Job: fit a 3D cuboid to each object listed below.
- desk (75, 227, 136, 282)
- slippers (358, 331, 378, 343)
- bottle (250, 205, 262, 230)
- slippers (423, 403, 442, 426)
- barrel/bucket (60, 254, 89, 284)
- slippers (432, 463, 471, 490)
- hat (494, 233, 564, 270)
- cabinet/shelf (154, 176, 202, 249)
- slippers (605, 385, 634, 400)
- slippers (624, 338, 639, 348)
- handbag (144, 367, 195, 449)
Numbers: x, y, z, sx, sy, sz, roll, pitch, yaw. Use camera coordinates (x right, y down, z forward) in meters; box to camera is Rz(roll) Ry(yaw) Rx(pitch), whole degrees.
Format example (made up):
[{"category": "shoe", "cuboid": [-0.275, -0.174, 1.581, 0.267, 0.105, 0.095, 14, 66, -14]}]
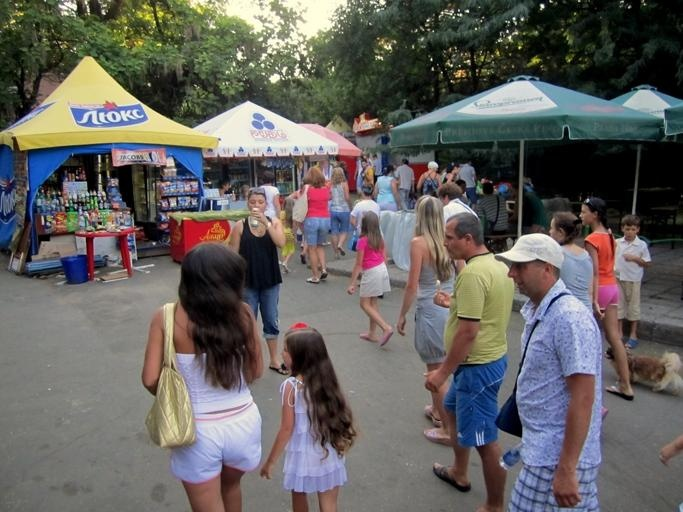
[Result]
[{"category": "desk", "cuboid": [-5.114, -0.049, 11.527, 1.133, 0.917, 1.127, -1, 2, -27]}, {"category": "slippers", "cuboid": [0.400, 1.174, 7.766, 0.277, 0.209, 0.108, 16, 1, 37]}, {"category": "bottle", "cuboid": [-1.027, -0.454, 6.295, 0.135, 0.239, 0.118, -3, 9, -6]}, {"category": "slippers", "cuboid": [0.967, 1.676, 5.651, 0.088, 0.112, 0.249, 1, 7, -7]}, {"category": "barrel/bucket", "cuboid": [-5.518, 0.266, 11.214, 0.490, 0.593, 0.561, 2, 8, -2]}, {"category": "slippers", "cuboid": [0.996, 1.949, 4.752, 0.130, 0.088, 0.305, -2, 23, -38]}, {"category": "hat", "cuboid": [1.297, -0.037, 3.579, 0.315, 0.182, 0.235, 4, -1, 7]}, {"category": "cabinet/shelf", "cuboid": [-4.400, -1.493, 14.847, 1.135, 1.977, 0.665, -4, -8, -18]}, {"category": "slippers", "cuboid": [3.196, 1.526, 6.072, 0.109, 0.061, 0.212, 1, 17, -36]}, {"category": "slippers", "cuboid": [4.003, 1.197, 7.332, 0.097, 0.088, 0.277, -2, 3, 37]}, {"category": "handbag", "cuboid": [-1.089, 1.009, 3.570, 0.234, 0.501, 0.328, 3, 12, -23]}]
